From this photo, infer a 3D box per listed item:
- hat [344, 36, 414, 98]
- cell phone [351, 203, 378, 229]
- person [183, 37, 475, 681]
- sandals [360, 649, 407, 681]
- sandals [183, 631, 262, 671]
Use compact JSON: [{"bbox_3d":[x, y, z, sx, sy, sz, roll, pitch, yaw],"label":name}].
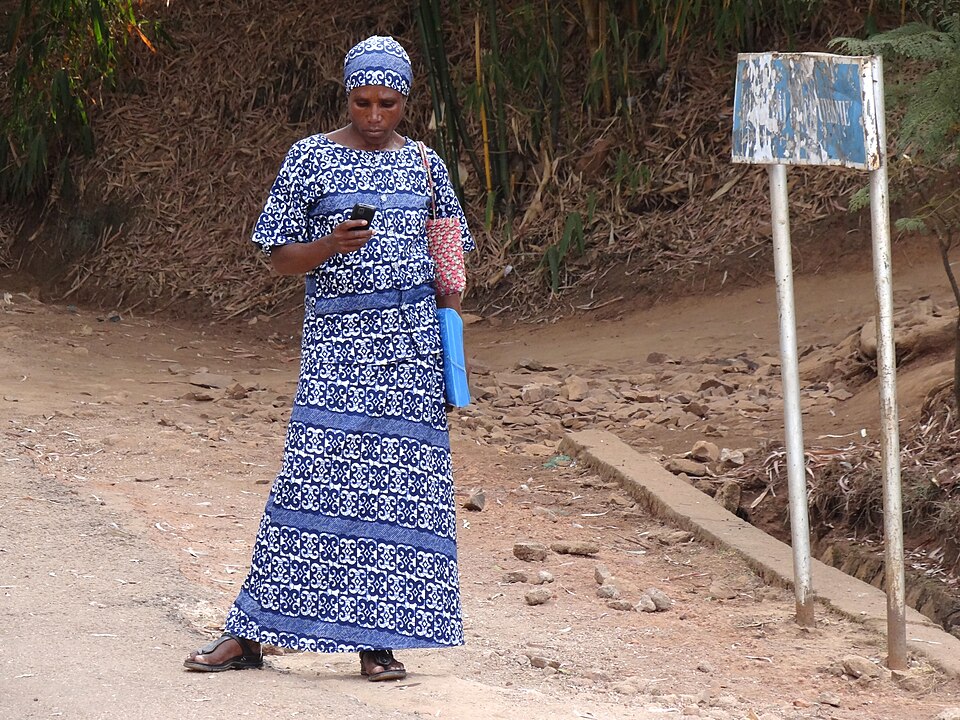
[{"bbox_3d":[-0.410,-1.135,5.972,0.249,0.237,0.203,4,3,-6],"label":"hat"},{"bbox_3d":[-0.459,-0.542,5.818,0.095,0.123,0.015,22,-14,-11],"label":"cell phone"},{"bbox_3d":[-0.489,-0.024,5.953,0.981,2.442,0.352,5,4,-7],"label":"person"},{"bbox_3d":[-0.400,1.169,5.940,0.087,0.118,0.217,5,-9,-42],"label":"sandals"},{"bbox_3d":[-1.011,1.126,5.951,0.279,0.088,0.121,4,-7,-22],"label":"sandals"}]
